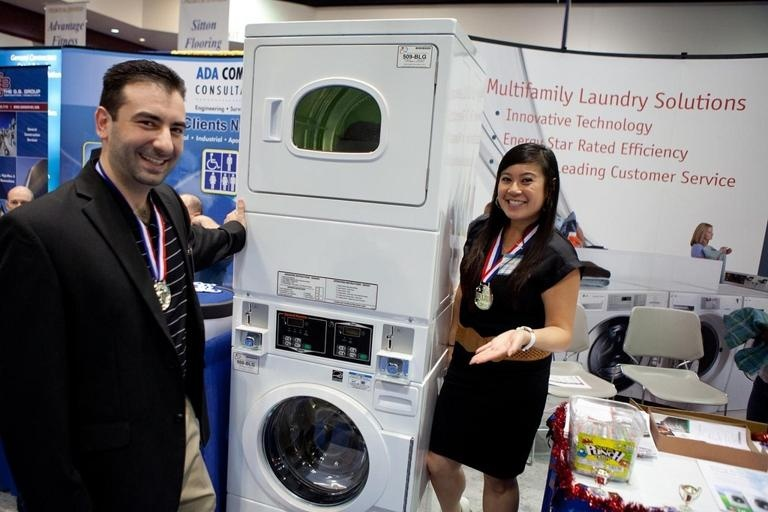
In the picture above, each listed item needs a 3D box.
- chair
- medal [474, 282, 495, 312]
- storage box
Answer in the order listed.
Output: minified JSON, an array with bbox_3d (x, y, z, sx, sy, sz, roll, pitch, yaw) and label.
[{"bbox_3d":[1.772,0.926,4.055,0.884,1.600,1.052,2,-5,14],"label":"chair"},{"bbox_3d":[0.492,0.198,2.423,0.026,0.209,0.138,-1,-1,-36],"label":"medal"},{"bbox_3d":[0.966,0.786,2.187,0.263,0.306,0.346,3,-10,21],"label":"storage box"}]
